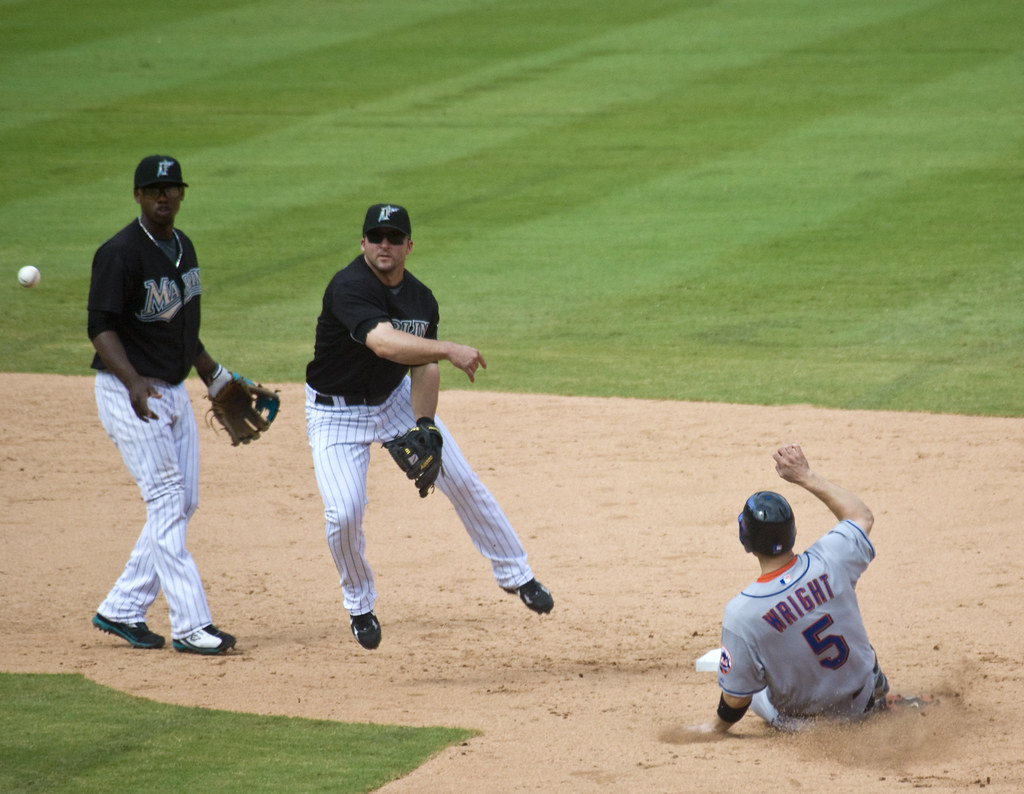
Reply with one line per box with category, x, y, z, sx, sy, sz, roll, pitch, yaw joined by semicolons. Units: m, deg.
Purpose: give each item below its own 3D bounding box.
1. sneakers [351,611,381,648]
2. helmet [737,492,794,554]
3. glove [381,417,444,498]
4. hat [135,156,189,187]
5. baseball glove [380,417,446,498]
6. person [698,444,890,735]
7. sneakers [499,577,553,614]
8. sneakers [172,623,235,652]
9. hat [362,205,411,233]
sneakers;-1.159;1.856;18.222;0.147;0.364;0.161;-20;-13;-5
helmet;1.864;0.896;16.951;0.368;0.385;0.461;0;35;0
glove;-0.753;0.445;17.902;0.466;0.579;0.366;-9;8;-5
hat;-2.834;-1.854;18.169;0.250;0.195;0.342;-2;6;-12
baseball glove;-0.756;0.453;17.980;0.544;0.489;0.249;-54;7;-2
person;2.189;1.576;17.713;1.534;1.957;1.011;-16;23;4
sneakers;0.139;1.604;18.361;0.466;0.188;0.167;32;69;25
sneakers;-2.457;1.922;18.192;0.476;0.218;0.210;-3;3;12
hat;-1.003;-1.441;18.014;0.357;0.267;0.276;-8;8;0
